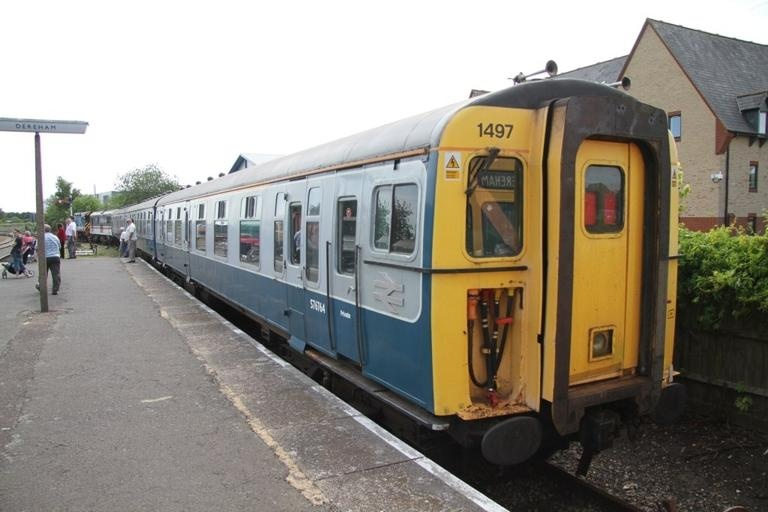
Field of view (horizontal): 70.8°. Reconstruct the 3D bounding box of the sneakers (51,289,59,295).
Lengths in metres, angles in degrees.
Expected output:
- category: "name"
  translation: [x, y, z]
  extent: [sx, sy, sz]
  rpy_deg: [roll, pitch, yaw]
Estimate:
- category: "sneakers"
  translation: [-9.045, 0.966, 14.705]
  extent: [0.146, 0.150, 0.151]
  rpy_deg: [1, -5, -5]
